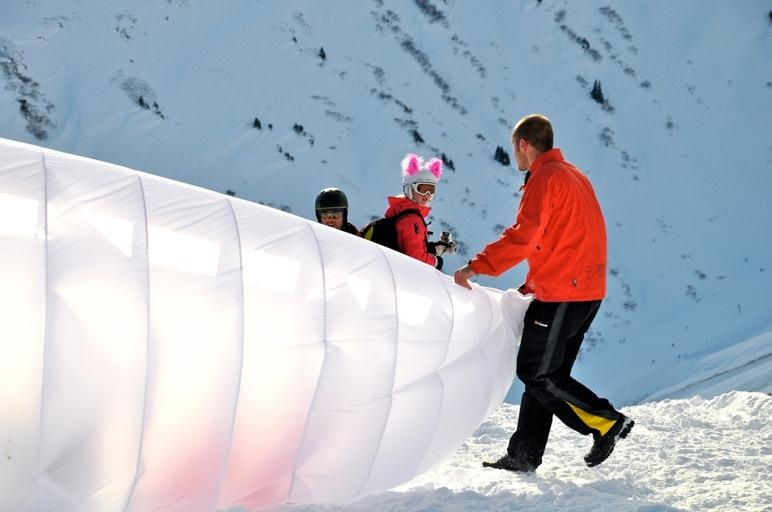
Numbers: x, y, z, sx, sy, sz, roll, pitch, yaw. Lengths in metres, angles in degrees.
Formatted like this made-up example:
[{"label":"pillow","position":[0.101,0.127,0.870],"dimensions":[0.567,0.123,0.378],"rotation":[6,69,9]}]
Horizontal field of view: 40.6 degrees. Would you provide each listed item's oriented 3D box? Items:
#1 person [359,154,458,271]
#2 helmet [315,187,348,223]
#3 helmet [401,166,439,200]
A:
[{"label":"person","position":[0.397,-0.674,14.485],"dimensions":[1.247,1.278,0.658],"rotation":[15,6,-1]},{"label":"helmet","position":[-0.767,-0.732,14.871],"dimensions":[0.431,0.490,0.531],"rotation":[-4,-4,2]},{"label":"helmet","position":[0.527,-1.046,14.617],"dimensions":[0.386,0.399,0.467],"rotation":[10,6,-45]}]
